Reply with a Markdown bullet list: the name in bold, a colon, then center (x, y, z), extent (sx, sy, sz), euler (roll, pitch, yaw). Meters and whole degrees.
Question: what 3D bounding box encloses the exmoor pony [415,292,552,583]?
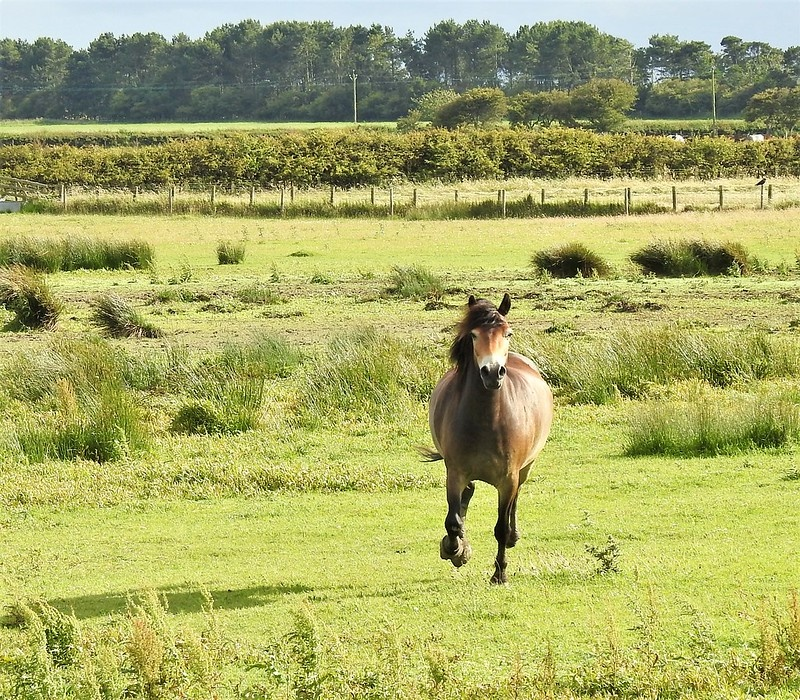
- **exmoor pony**: center (1.175, 1.149, 21.903), extent (1.361, 3.697, 1.479), euler (-2, 7, -13)
